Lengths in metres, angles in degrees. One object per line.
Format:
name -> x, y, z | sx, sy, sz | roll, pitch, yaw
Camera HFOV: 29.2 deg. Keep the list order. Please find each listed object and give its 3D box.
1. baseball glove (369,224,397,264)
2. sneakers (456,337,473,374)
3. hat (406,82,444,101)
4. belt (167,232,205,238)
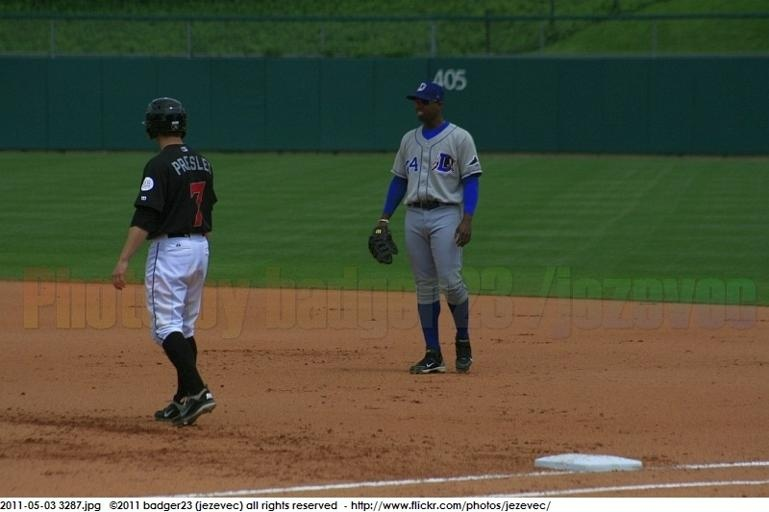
baseball glove -> -0.140, -0.148, 19.997 | 0.439, 0.224, 0.498 | -3, -29, 21
sneakers -> 1.037, 1.253, 19.934 | 0.244, 0.284, 0.670 | -3, 30, 7
hat -> 0.606, -2.183, 19.806 | 0.486, 0.225, 0.326 | 7, 4, -17
belt -> -2.520, -0.285, 18.734 | 0.492, 0.065, 0.068 | -2, 4, -20
